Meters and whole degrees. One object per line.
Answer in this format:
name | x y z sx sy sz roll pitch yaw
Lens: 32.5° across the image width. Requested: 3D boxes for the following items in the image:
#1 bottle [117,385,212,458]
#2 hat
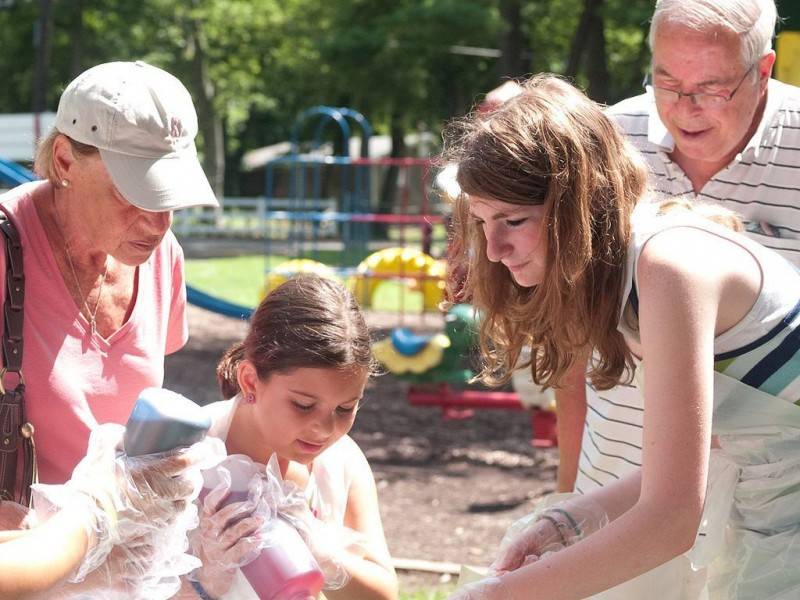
bottle | -0.763 0.410 4.486 0.224 0.219 0.229 30 -1 -8
hat | -0.979 -0.575 4.961 0.622 0.354 0.423 41 34 22
